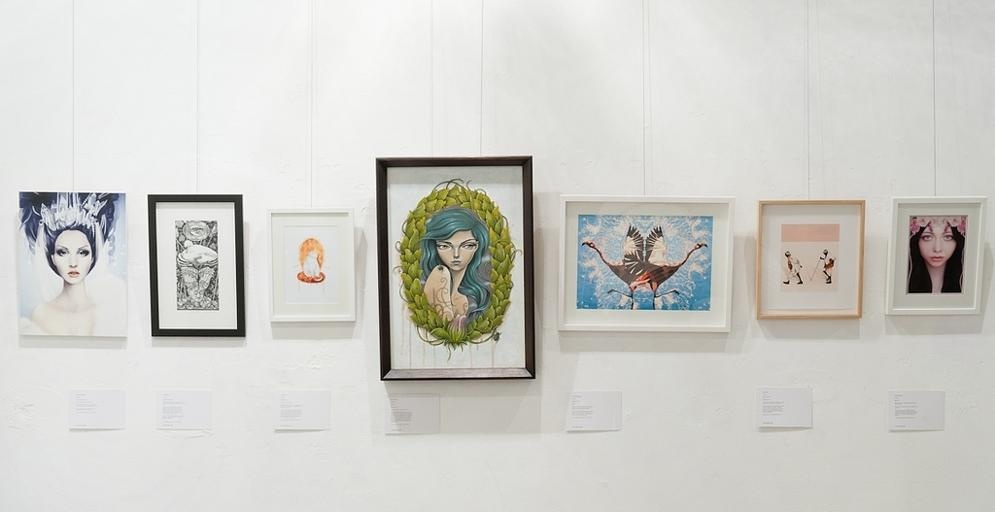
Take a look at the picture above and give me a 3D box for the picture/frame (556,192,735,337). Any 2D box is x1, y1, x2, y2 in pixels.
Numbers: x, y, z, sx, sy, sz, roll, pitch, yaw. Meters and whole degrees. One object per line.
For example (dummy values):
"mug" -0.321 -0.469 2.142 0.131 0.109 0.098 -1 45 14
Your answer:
"picture/frame" 0.624 0.022 4.164 0.627 0.459 0.027 0 -1 0

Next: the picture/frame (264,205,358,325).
"picture/frame" -0.785 0.030 4.166 0.523 0.604 0.042 -1 5 0

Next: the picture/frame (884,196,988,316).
"picture/frame" 1.857 -0.012 4.170 0.534 0.668 0.055 1 2 1

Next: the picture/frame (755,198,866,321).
"picture/frame" 1.326 -0.003 4.169 0.543 0.563 0.047 1 2 -3
